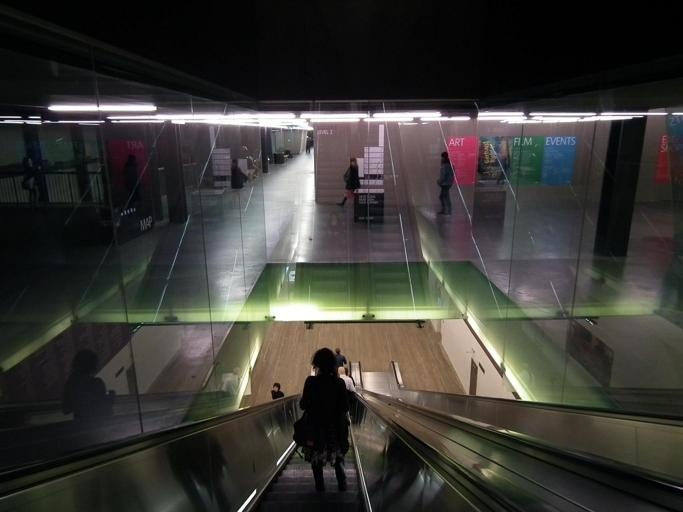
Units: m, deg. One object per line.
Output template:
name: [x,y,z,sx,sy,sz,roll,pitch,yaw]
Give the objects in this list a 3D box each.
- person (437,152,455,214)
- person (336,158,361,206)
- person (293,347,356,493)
person: [2.092,-1.459,8.678,0.300,1.270,0.118,3,15,15]
person: [0.177,-1.525,8.919,0.234,0.997,0.409,-10,17,-32]
person: [-0.154,1.462,3.665,0.469,1.264,0.488,-9,17,-31]
